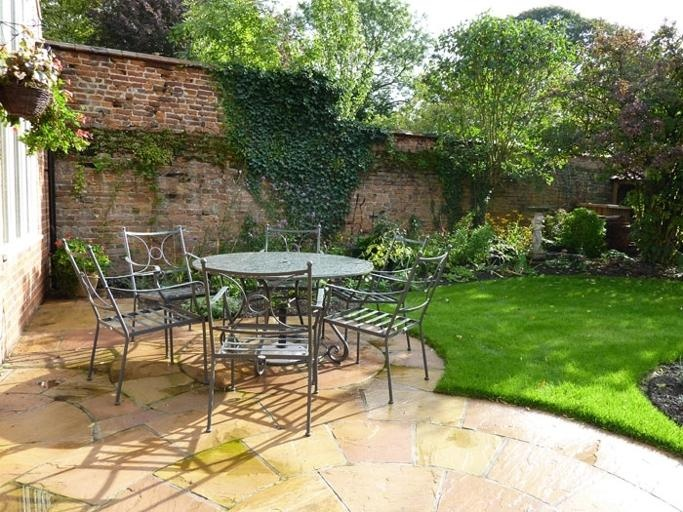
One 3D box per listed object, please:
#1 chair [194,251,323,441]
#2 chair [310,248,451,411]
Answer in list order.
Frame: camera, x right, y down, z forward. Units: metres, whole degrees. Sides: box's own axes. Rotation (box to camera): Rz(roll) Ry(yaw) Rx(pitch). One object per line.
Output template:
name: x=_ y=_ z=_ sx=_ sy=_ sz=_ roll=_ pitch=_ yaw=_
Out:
chair: x=-0.769 y=0.525 z=5.053 sx=1.073 sy=1.327 sz=2.269 roll=-2 pitch=11 yaw=-8
chair: x=0.381 y=0.561 z=5.002 sx=0.987 sy=1.270 sz=0.847 roll=9 pitch=10 yaw=32
